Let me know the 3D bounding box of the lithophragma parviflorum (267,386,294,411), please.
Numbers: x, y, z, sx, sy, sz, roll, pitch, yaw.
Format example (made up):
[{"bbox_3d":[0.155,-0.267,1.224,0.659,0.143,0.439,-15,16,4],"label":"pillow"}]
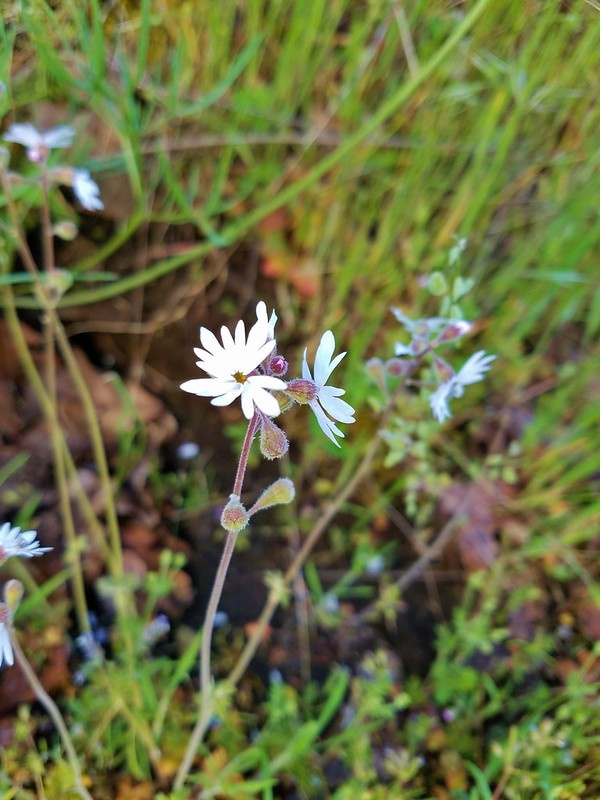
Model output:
[{"bbox_3d":[-0.037,0.000,1.471,0.040,0.040,0.013,56,44,-34],"label":"lithophragma parviflorum"}]

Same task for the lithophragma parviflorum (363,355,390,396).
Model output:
[{"bbox_3d":[0.207,-0.070,1.999,0.044,0.019,0.127,-30,46,15],"label":"lithophragma parviflorum"}]

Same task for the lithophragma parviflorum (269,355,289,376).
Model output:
[{"bbox_3d":[-0.042,-0.069,1.461,0.035,0.021,0.038,15,86,-45],"label":"lithophragma parviflorum"}]

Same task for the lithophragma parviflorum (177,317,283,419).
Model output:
[{"bbox_3d":[-0.121,-0.054,1.397,0.208,0.085,0.180,-15,62,5],"label":"lithophragma parviflorum"}]

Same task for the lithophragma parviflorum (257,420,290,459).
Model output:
[{"bbox_3d":[-0.057,0.076,1.514,0.064,0.039,0.077,-23,95,-1],"label":"lithophragma parviflorum"}]
